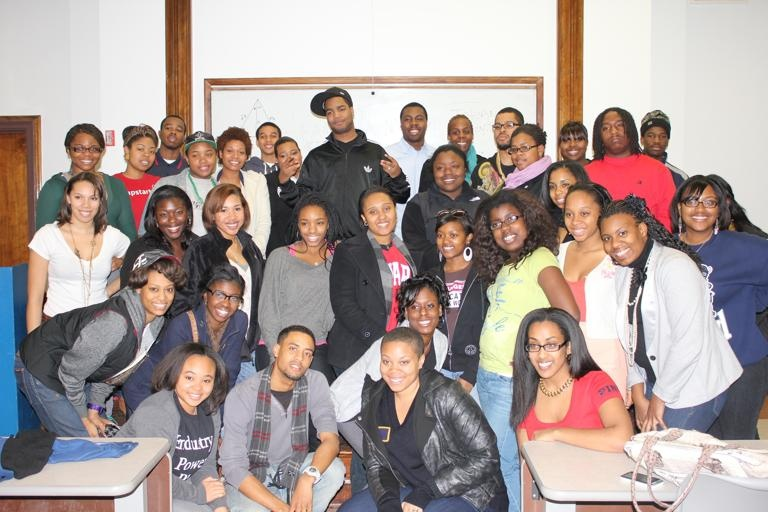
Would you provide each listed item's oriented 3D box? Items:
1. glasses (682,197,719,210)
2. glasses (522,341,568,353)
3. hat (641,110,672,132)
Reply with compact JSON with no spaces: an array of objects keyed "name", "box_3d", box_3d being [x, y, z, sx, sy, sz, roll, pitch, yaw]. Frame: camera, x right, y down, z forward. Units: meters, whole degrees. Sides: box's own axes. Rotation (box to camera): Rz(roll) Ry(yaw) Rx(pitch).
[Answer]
[{"name":"glasses","box_3d":[2.100,-0.356,4.015,0.202,0.064,0.044,1,7,6]},{"name":"glasses","box_3d":[0.974,0.548,3.664,0.242,0.073,0.084,2,7,12]},{"name":"hat","box_3d":[2.728,-1.388,6.103,0.259,0.183,0.251,0,0,5]}]
